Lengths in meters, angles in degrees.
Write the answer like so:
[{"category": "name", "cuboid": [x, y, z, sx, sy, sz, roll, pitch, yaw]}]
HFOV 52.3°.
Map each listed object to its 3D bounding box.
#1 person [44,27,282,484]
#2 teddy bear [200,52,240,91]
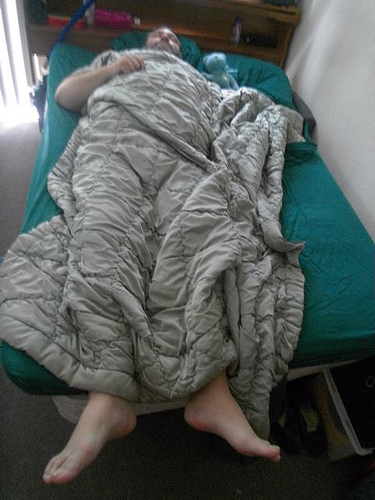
[{"category": "person", "cuboid": [-0.195, -0.292, 1.284, 0.728, 0.395, 1.640, -1, 82, -16]}, {"category": "teddy bear", "cuboid": [0.228, -1.025, 2.238, 0.200, 0.209, 0.099, 34, 43, -39]}]
